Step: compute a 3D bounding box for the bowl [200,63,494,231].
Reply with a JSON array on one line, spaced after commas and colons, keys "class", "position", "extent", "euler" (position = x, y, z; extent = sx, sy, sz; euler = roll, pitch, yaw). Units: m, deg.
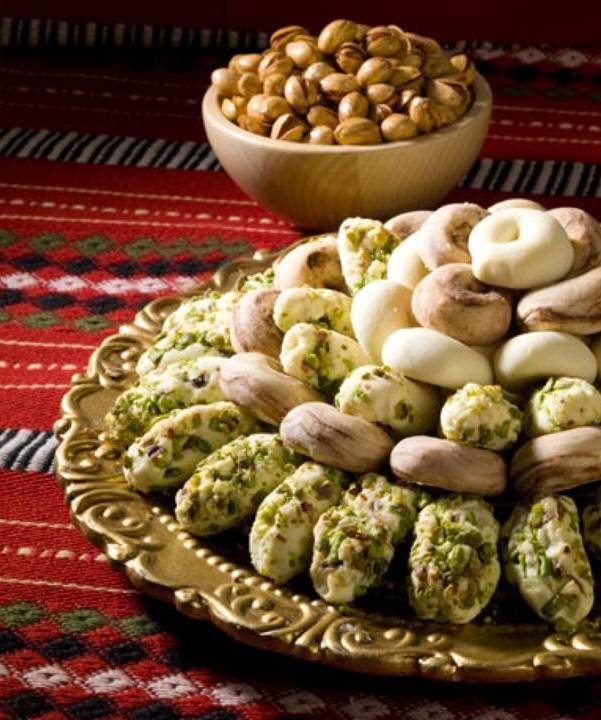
[{"class": "bowl", "position": [0.061, -0.231, 0.991], "extent": [0.309, 0.102, 0.255], "euler": [5, 27, 18]}]
